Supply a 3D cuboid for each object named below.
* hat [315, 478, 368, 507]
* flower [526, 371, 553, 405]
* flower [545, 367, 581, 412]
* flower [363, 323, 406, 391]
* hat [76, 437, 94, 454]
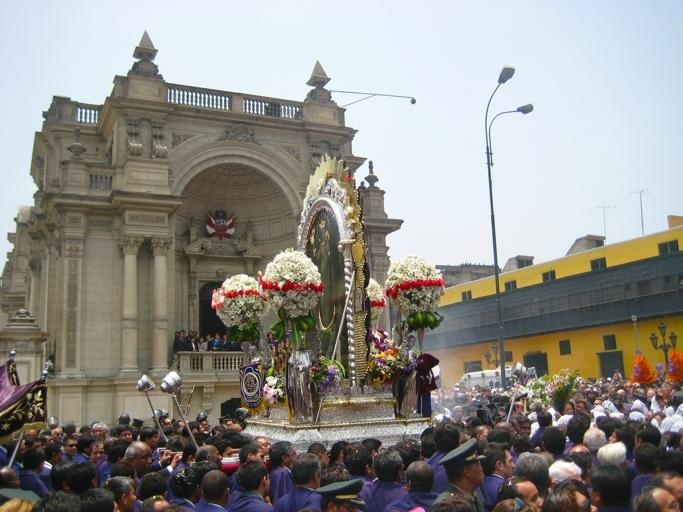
[{"bbox_3d":[-0.005,3.706,13.174,0.534,0.249,0.475,1,-10,7],"label":"hat"},{"bbox_3d":[5.915,3.968,24.841,0.683,0.716,0.701,-27,-5,11],"label":"flower"},{"bbox_3d":[6.453,3.930,24.695,1.137,1.236,1.092,12,-11,-35],"label":"flower"},{"bbox_3d":[1.007,2.510,20.228,0.986,1.237,0.687,-11,-38,-3],"label":"flower"},{"bbox_3d":[-5.347,3.944,17.429,0.330,0.469,0.353,2,-3,-7],"label":"hat"}]
